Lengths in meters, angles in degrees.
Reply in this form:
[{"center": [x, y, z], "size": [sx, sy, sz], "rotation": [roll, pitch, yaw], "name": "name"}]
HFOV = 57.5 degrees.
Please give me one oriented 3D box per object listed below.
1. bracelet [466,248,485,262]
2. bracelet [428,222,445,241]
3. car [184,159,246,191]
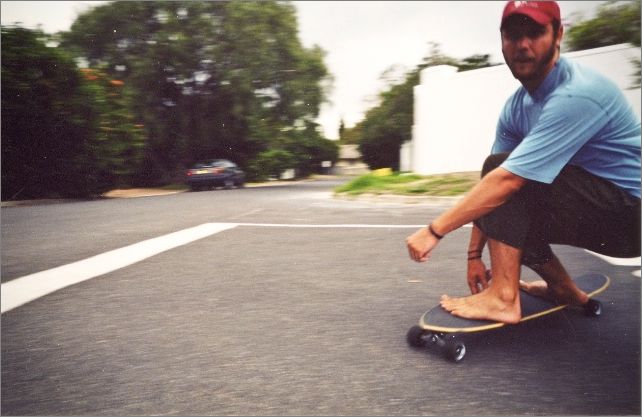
[{"center": [1.085, 0.320, 4.100], "size": [0.103, 0.081, 0.079], "rotation": [-25, 33, -38], "name": "bracelet"}, {"center": [0.742, 0.150, 3.830], "size": [0.103, 0.027, 0.101], "rotation": [34, 6, -23], "name": "bracelet"}, {"center": [-3.792, -1.181, 21.002], "size": [1.333, 1.142, 2.012], "rotation": [2, 12, 13], "name": "car"}]
